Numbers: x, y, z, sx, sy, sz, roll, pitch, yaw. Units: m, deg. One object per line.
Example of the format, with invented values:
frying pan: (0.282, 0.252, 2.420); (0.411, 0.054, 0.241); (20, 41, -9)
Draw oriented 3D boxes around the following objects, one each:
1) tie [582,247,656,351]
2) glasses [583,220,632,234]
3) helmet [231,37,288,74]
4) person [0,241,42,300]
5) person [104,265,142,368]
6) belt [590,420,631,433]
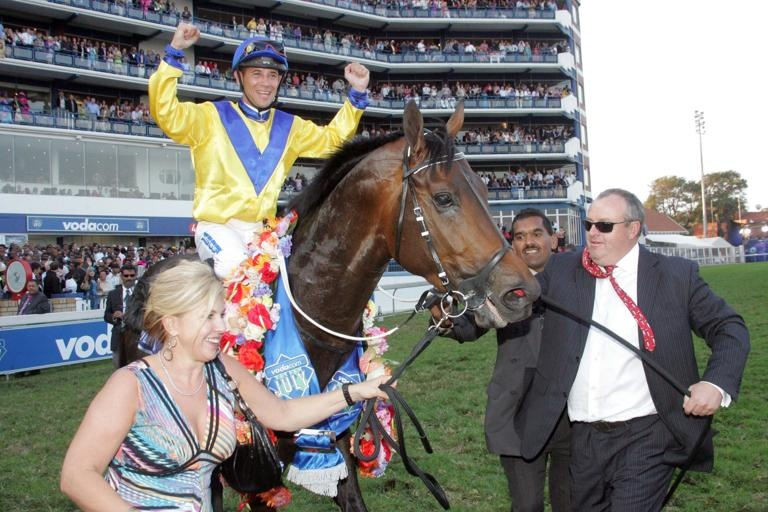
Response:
tie: (1.715, 0.265, 4.751); (0.261, 0.901, 0.066); (-35, -31, 20)
glasses: (1.608, -0.216, 4.704); (0.304, 0.097, 0.132); (0, 3, 27)
helmet: (-0.947, -1.583, 4.989); (0.380, 0.279, 0.518); (1, 9, -27)
person: (-7.294, 0.306, 12.949); (0.878, 1.181, 0.331); (-10, -6, 38)
person: (-3.624, 1.039, 9.006); (0.570, 1.819, 0.528); (2, 14, -19)
belt: (1.629, 1.229, 4.675); (0.250, 0.091, 0.029); (-1, 3, 14)
